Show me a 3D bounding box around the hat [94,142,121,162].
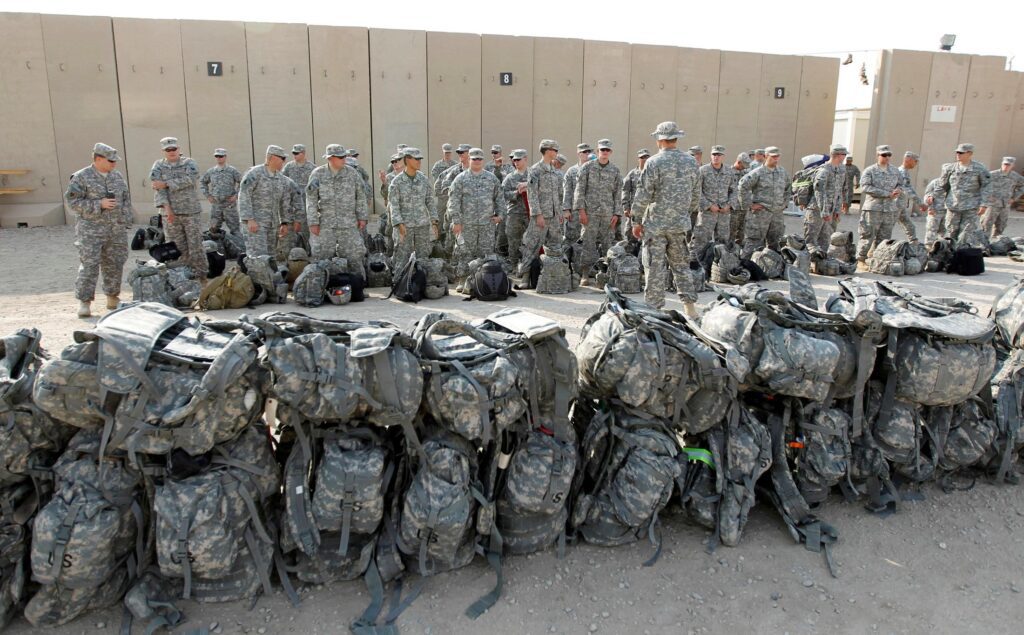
[{"bbox_3d":[-4.937,-1.970,9.639,0.198,0.211,0.259,2,18,11],"label":"hat"}]

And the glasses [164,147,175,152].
[{"bbox_3d":[-4.868,-2.371,11.325,0.161,0.062,0.091,0,17,3],"label":"glasses"}]
